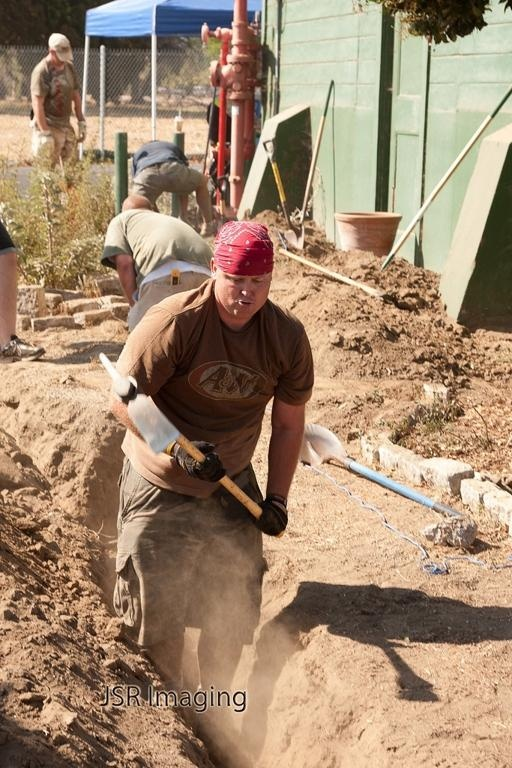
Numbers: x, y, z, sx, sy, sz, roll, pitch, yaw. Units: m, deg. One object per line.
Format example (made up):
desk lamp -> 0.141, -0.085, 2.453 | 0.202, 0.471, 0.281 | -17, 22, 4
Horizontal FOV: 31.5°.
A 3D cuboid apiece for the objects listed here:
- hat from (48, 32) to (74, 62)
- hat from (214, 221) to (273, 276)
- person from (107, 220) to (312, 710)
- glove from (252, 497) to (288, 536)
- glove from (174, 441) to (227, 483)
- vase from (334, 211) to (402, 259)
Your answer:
hat -> -2.075, -3.600, 9.691 | 0.201, 0.324, 0.532 | -1, 13, -9
hat -> -0.043, -0.472, 3.178 | 0.199, 0.174, 0.250 | 1, 13, -2
person -> -0.164, 0.399, 3.500 | 0.763, 2.019, 0.694 | 0, 14, -8
glove -> 0.060, 0.499, 3.526 | 0.119, 0.056, 0.144 | 16, 27, -21
glove -> -0.217, 0.282, 3.180 | 0.190, 0.079, 0.109 | 27, 46, 4
vase -> 1.023, -1.359, 8.335 | 0.512, 0.341, 0.481 | 3, 15, 2
